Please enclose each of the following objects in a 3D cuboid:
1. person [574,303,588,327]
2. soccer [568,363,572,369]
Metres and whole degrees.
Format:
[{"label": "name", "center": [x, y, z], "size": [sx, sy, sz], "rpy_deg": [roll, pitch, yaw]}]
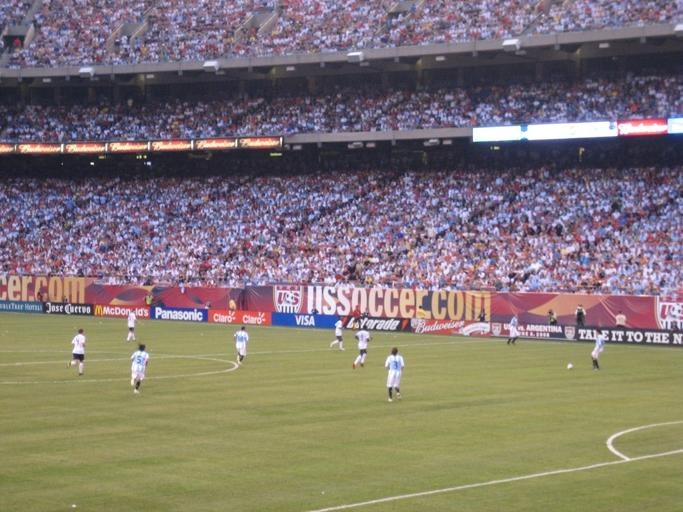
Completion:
[{"label": "person", "center": [18.198, 4.457, 114.818], "size": [0.768, 1.632, 0.907], "rpy_deg": [3, 15, 10]}, {"label": "soccer", "center": [15.249, 7.296, 100.941], "size": [0.259, 0.271, 0.337], "rpy_deg": [1, -2, 20]}]
